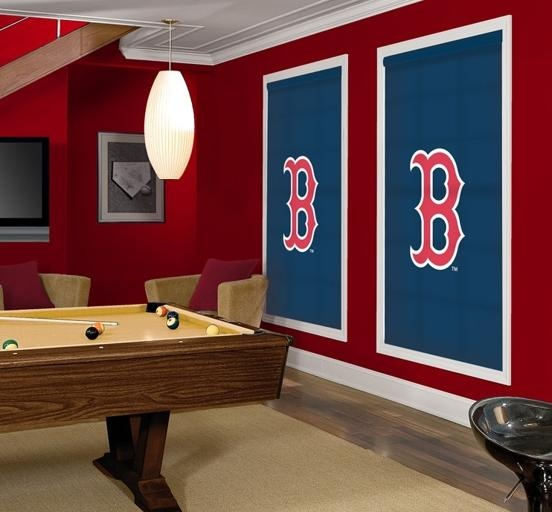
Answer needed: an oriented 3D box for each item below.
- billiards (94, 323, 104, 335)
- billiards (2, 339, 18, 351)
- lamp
[{"bbox_3d":[-0.753,0.310,2.167,0.041,0.030,0.044,1,-7,-6],"label":"billiards"},{"bbox_3d":[-0.972,0.328,1.862,0.044,0.039,0.042,0,-1,-7],"label":"billiards"},{"bbox_3d":[-0.657,-0.811,3.098,0.298,0.667,0.192,0,1,5],"label":"lamp"}]
